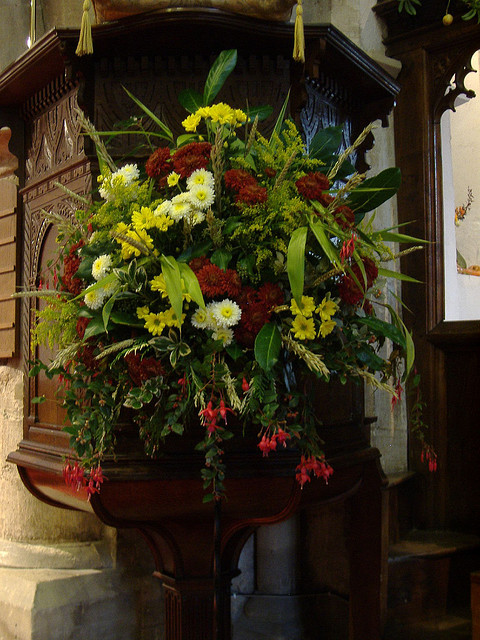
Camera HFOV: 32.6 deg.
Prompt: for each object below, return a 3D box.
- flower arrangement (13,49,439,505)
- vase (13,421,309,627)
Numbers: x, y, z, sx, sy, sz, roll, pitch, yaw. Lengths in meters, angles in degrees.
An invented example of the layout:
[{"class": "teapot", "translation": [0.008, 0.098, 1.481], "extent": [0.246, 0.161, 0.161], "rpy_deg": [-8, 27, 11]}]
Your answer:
[{"class": "flower arrangement", "translation": [0.076, -0.093, 2.071], "extent": [0.919, 1.174, 1.012], "rpy_deg": [-1, -1, -8]}, {"class": "vase", "translation": [-0.185, 0.356, 2.015], "extent": [0.664, 0.523, 0.587], "rpy_deg": [-2, -6, -7]}]
